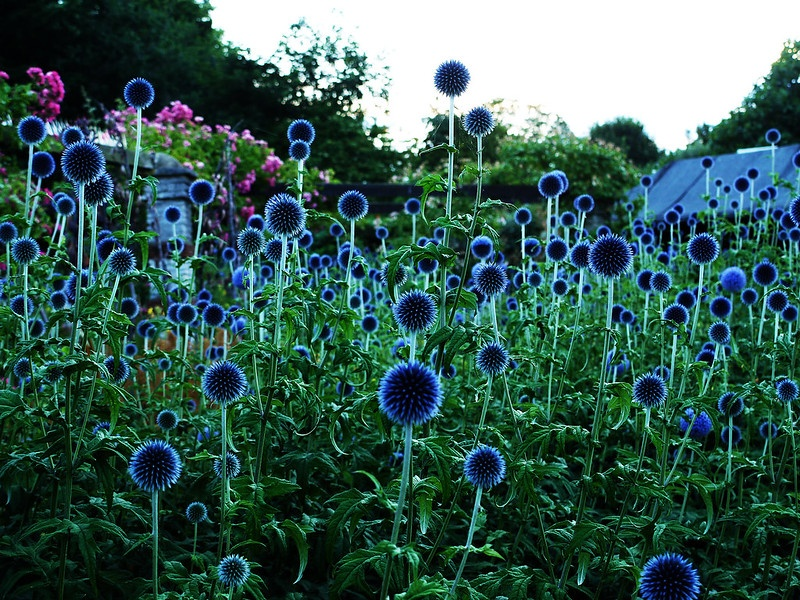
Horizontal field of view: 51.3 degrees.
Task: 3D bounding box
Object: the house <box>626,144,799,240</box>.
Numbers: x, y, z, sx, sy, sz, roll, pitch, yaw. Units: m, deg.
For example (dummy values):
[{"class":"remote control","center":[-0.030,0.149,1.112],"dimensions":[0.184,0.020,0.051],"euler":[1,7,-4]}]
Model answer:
[{"class":"house","center":[4.883,-1.866,13.180],"dimensions":[2.500,0.751,1.838],"euler":[-11,4,41]}]
